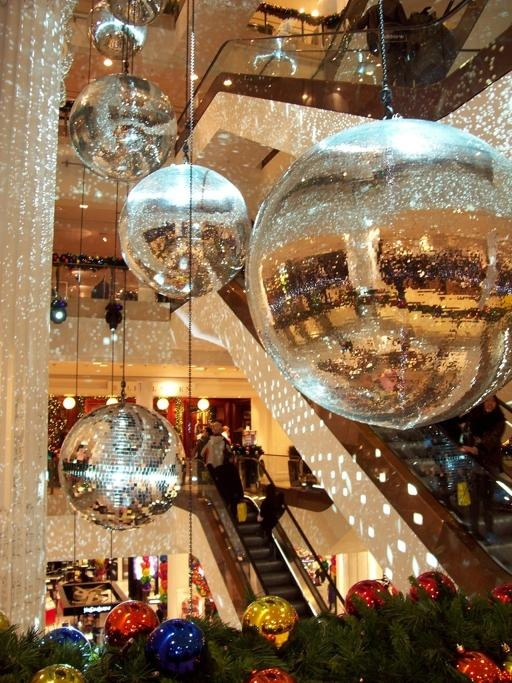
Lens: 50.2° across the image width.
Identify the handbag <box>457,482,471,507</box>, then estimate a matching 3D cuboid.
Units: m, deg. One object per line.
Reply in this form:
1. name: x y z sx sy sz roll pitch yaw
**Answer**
1. handbag: 1.421 1.047 3.732 0.044 0.132 0.174 9 77 -29
